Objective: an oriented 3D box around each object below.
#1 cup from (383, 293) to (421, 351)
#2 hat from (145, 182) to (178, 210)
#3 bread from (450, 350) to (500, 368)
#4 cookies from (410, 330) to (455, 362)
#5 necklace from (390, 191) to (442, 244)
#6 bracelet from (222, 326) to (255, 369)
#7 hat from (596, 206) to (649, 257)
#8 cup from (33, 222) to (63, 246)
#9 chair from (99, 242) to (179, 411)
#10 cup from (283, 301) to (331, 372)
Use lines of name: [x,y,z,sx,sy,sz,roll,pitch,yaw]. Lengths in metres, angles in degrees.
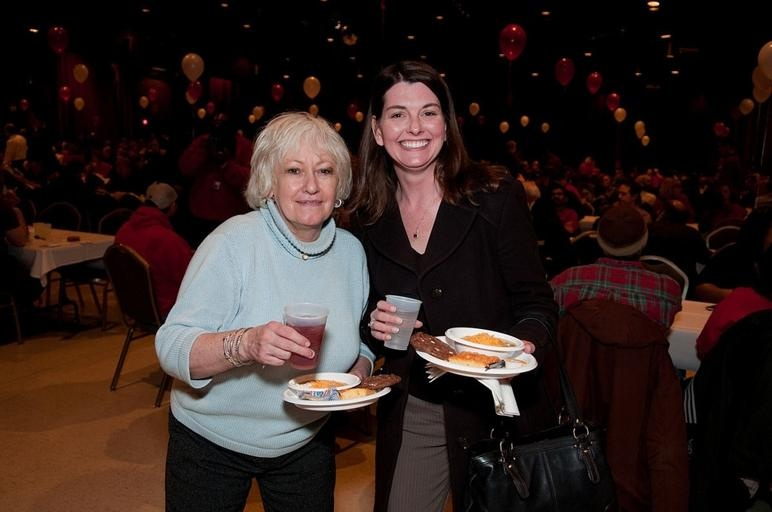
cup: [0.073,0.312,2.449,0.157,0.283,0.160,0,6,0]
hat: [-2.268,-0.614,5.439,0.304,0.272,0.096,23,-6,-8]
bread: [0.380,0.436,2.266,0.143,0.028,0.087,4,4,10]
cookies: [0.205,0.391,2.339,0.166,0.064,0.099,22,21,9]
necklace: [0.161,-0.186,2.653,0.168,0.280,0.059,-1,4,7]
bracelet: [-0.618,0.376,2.191,0.128,0.146,0.069,6,-4,-19]
hat: [1.680,-0.174,3.819,0.336,0.369,0.238,1,6,9]
cup: [-4.086,-0.259,6.484,0.354,0.237,0.125,17,32,19]
chair: [-2.077,0.548,5.144,0.981,1.312,0.924,-5,11,-37]
cup: [-0.254,0.325,2.177,0.253,0.266,0.247,2,-13,0]
